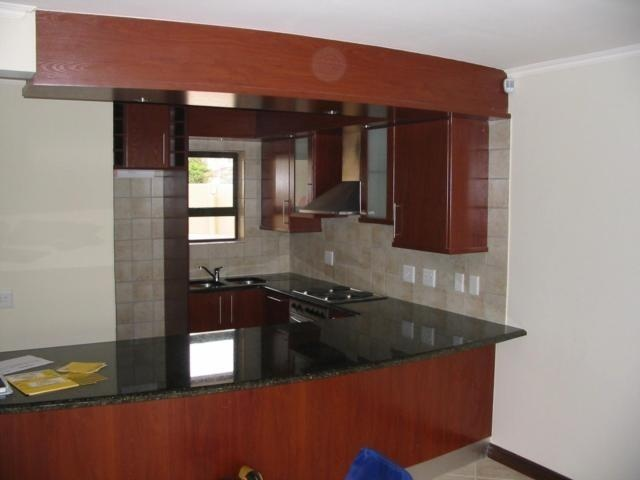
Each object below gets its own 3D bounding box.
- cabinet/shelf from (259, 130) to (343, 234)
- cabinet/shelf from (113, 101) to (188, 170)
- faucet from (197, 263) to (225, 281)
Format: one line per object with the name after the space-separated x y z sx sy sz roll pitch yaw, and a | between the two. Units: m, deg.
-0.156 -0.571 5.411 0.400 0.961 1.033 1 1 -32 | cabinet/shelf
-1.484 -0.904 4.837 0.606 0.510 0.234 -3 7 -26 | cabinet/shelf
-1.132 0.339 5.845 0.237 0.155 0.249 -1 7 -11 | faucet
